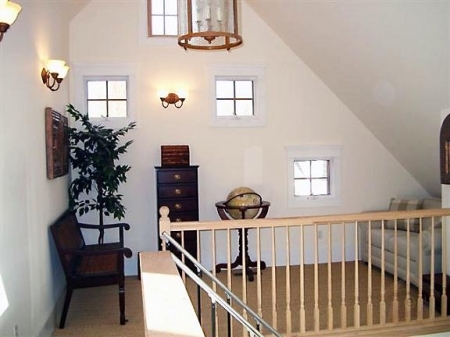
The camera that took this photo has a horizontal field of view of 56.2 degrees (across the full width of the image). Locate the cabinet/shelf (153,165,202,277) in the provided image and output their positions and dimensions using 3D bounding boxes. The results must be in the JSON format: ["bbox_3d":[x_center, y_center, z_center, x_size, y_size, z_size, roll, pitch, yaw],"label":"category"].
[{"bbox_3d":[-0.753,0.835,6.605,0.652,1.751,0.613,0,-1,-12],"label":"cabinet/shelf"}]

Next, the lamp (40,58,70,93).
[{"bbox_3d":[-2.155,-1.163,5.303,0.300,0.352,0.353,5,-5,-26],"label":"lamp"}]

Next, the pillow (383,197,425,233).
[{"bbox_3d":[2.629,0.692,6.169,0.220,0.439,0.444,7,-7,-41],"label":"pillow"}]

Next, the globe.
[{"bbox_3d":[0.302,1.021,6.827,0.914,1.527,0.902,-8,11,-39],"label":"globe"}]

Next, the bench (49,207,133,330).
[{"bbox_3d":[-1.811,1.192,5.587,0.947,1.545,1.165,0,0,-11],"label":"bench"}]
